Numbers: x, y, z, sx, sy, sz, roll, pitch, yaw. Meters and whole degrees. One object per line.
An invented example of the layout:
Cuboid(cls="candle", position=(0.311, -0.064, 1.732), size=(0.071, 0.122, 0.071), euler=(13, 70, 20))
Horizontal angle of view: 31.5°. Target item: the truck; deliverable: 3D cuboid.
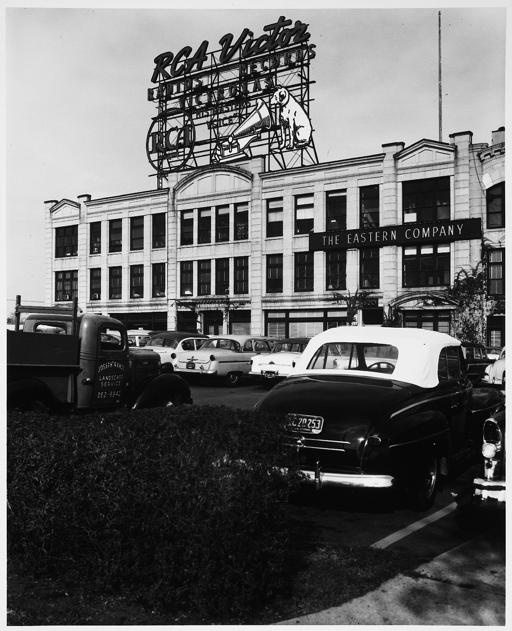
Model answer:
Cuboid(cls="truck", position=(-2.465, 0.568, 12.676), size=(1.233, 1.541, 3.165), euler=(-1, -1, 33))

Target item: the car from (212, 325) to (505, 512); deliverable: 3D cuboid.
Cuboid(cls="car", position=(1.538, 1.031, 10.395), size=(1.520, 1.358, 2.699), euler=(1, 4, 33))
